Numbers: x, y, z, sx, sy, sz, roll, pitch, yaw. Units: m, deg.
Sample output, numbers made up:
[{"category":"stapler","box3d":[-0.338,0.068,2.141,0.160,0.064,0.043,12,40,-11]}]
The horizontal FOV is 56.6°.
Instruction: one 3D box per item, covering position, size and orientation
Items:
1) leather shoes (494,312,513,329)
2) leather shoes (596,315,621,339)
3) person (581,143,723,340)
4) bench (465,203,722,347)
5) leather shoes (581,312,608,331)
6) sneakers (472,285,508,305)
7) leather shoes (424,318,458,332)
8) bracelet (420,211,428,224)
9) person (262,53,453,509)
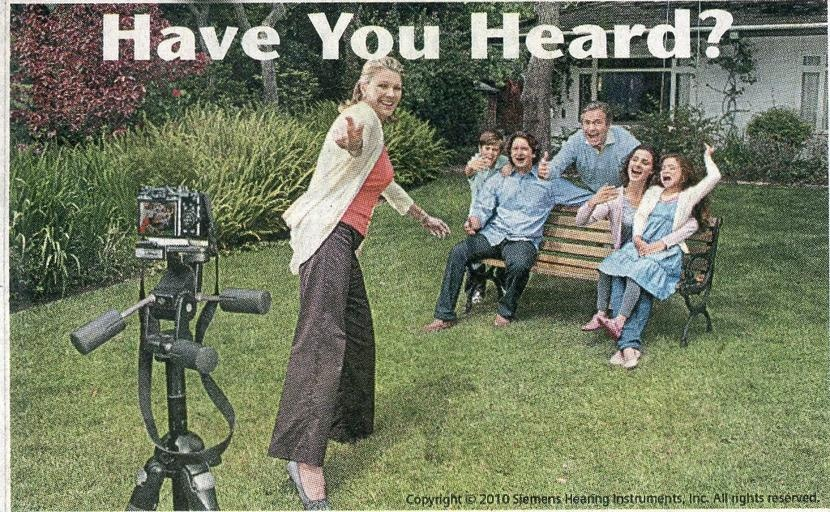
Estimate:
[{"category":"leather shoes","box3d":[0.797,0.602,6.968,0.162,0.072,0.089,-1,10,5]},{"category":"leather shoes","box3d":[1.659,0.619,6.580,0.314,0.132,0.105,21,-41,-40]},{"category":"person","box3d":[2.062,-0.134,6.725,0.985,1.683,0.435,-1,9,-17]},{"category":"bench","box3d":[1.736,0.056,7.020,0.730,0.972,2.248,-20,14,-24]},{"category":"leather shoes","box3d":[1.533,0.569,6.595,0.329,0.137,0.112,-4,1,-39]},{"category":"sneakers","box3d":[0.693,0.373,7.296,0.262,0.152,0.106,-7,2,-12]},{"category":"leather shoes","box3d":[0.238,0.641,7.036,0.291,0.123,0.098,0,-2,-16]},{"category":"bracelet","box3d":[0.072,-0.315,6.383,0.032,0.070,0.093,-2,5,-26]},{"category":"person","box3d":[-0.559,0.212,5.910,0.522,3.431,1.166,9,11,39]}]
